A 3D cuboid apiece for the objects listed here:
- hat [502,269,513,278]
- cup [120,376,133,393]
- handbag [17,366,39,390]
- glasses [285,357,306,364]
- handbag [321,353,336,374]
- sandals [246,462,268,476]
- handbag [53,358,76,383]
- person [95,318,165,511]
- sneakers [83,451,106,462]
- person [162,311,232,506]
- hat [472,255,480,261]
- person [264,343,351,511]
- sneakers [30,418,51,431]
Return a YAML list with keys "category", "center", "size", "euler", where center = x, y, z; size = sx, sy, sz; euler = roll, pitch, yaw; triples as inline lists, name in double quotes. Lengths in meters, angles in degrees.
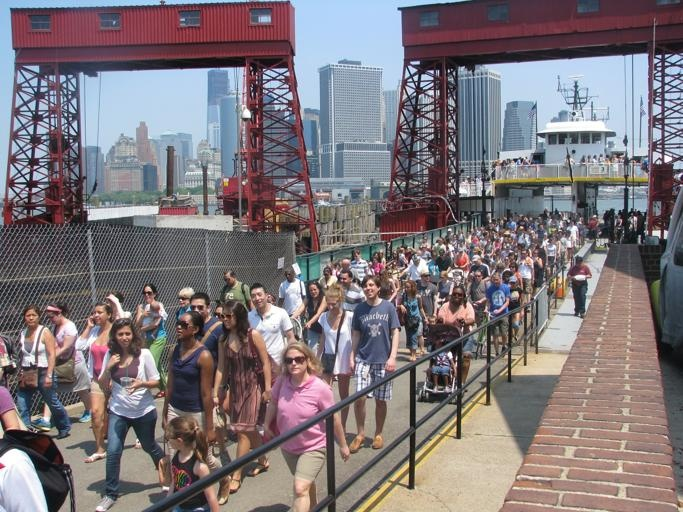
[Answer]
- category: "hat"
  center: [3.605, 0.399, 18.742]
  size: [0.144, 0.204, 0.195]
  euler: [-9, -21, 27]
- category: "cup"
  center: [-2.721, 1.627, 10.926]
  size: [0.181, 0.152, 0.082]
  euler: [2, 8, 23]
- category: "handbag"
  center: [-4.526, 1.777, 12.544]
  size: [0.302, 0.274, 0.440]
  euler: [2, 7, -15]
- category: "glasses"
  center: [-0.530, 1.194, 9.803]
  size: [0.229, 0.086, 0.050]
  euler: [-2, 7, -1]
- category: "handbag"
  center: [-0.186, 1.558, 12.376]
  size: [0.227, 0.268, 0.083]
  euler: [0, -1, 42]
- category: "sandals"
  center: [-1.082, 2.783, 11.180]
  size: [0.102, 0.129, 0.301]
  euler: [-3, -6, 26]
- category: "handbag"
  center: [-4.113, 1.705, 12.762]
  size: [0.351, 0.395, 0.161]
  euler: [-1, -3, -22]
- category: "person"
  center: [-2.738, 1.964, 11.015]
  size: [0.909, 2.256, 0.899]
  euler: [-4, 7, -18]
- category: "sneakers"
  center: [-3.407, 2.794, 11.925]
  size: [0.119, 0.124, 0.345]
  euler: [-5, -12, 35]
- category: "person"
  center: [-1.890, 2.004, 11.122]
  size: [0.897, 2.611, 0.760]
  euler: [0, 5, -11]
- category: "hat"
  center: [3.320, 0.056, 21.290]
  size: [0.186, 0.162, 0.289]
  euler: [-12, -7, 26]
- category: "person"
  center: [-0.348, 1.877, 9.756]
  size: [0.728, 1.725, 1.265]
  euler: [-3, 7, -15]
- category: "sneakers"
  center: [-4.537, 2.560, 13.063]
  size: [0.193, 0.275, 0.579]
  euler: [2, -11, -29]
